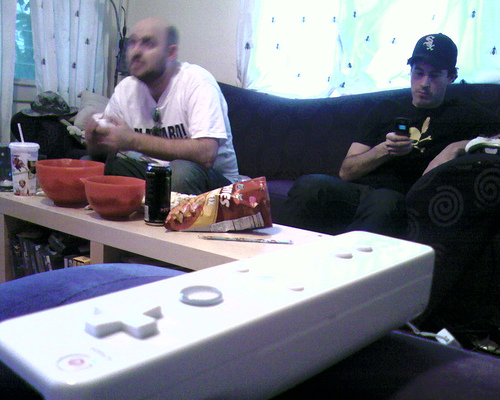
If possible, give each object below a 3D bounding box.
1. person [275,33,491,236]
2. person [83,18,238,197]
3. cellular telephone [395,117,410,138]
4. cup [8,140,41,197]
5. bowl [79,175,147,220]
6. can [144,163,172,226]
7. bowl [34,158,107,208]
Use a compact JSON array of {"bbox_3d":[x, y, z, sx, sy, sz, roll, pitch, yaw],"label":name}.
[{"bbox_3d":[0.601,-0.333,1.810,0.907,0.821,0.613,-11,13,-42],"label":"person"},{"bbox_3d":[-0.386,-0.420,1.788,0.642,0.741,0.699,-3,10,-3],"label":"person"},{"bbox_3d":[0.648,-0.307,1.769,0.073,0.101,0.075,4,6,19],"label":"cellular telephone"},{"bbox_3d":[-0.754,-0.105,1.410,0.097,0.187,0.260,-8,11,-28],"label":"cup"},{"bbox_3d":[-0.390,-0.014,1.206,0.169,0.087,0.138,1,6,-5],"label":"bowl"},{"bbox_3d":[-0.255,-0.016,1.155,0.070,0.166,0.069,6,15,-2],"label":"can"},{"bbox_3d":[-0.570,-0.050,1.350,0.215,0.130,0.209,2,6,0],"label":"bowl"}]
